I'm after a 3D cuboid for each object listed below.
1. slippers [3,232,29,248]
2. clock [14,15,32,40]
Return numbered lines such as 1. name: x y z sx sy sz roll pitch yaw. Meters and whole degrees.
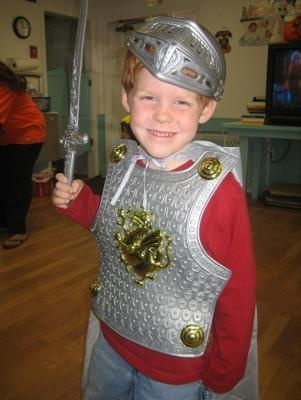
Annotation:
1. slippers: -1.050 0.312 2.427 0.090 0.083 0.204 5 16 19
2. clock: -1.234 -1.662 3.019 0.066 0.199 0.184 12 19 40
